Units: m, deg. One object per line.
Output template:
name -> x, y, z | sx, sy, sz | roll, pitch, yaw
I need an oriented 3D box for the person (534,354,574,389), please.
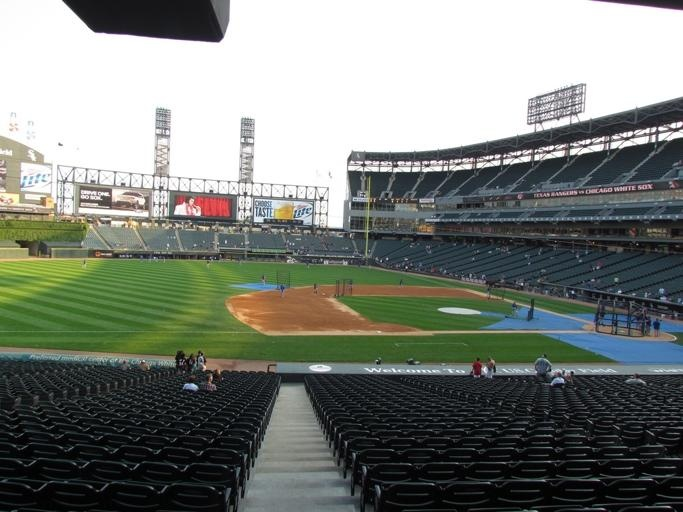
person -> 7.682, 4.170, 20.229 | 1.692, 0.491, 1.917 | 2, 0, 13
